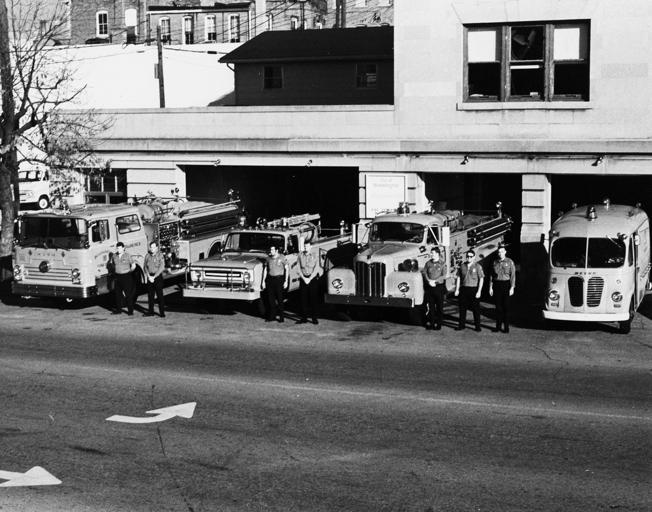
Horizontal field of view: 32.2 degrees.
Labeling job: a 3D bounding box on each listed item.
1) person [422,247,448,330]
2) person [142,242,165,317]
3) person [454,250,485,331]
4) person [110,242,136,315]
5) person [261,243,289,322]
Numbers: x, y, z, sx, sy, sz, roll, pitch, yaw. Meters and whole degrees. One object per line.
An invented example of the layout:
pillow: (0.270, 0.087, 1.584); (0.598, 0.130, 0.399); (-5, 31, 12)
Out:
person: (2.881, 0.903, 30.135); (0.650, 2.166, 0.628); (6, 7, 43)
person: (-4.973, 0.689, 32.327); (0.643, 2.097, 0.549); (3, 5, 18)
person: (3.817, 0.959, 30.172); (0.697, 2.088, 0.486); (1, 3, 17)
person: (-5.915, 0.611, 32.703); (0.703, 2.241, 1.393); (-3, 13, -10)
person: (-1.430, 0.819, 31.252); (0.683, 2.089, 0.507); (1, 13, 11)
